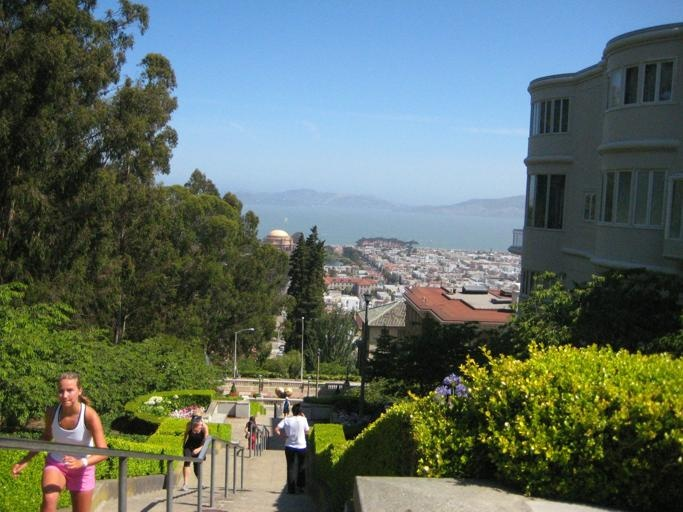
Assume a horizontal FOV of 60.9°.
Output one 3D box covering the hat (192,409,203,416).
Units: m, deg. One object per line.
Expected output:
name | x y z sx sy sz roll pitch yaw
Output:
hat | -2.869 3.123 11.647 0.213 0.107 0.234 2 -3 -3

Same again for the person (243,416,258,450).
person | -2.893 5.749 18.844 0.379 0.750 1.628 -8 -6 -11

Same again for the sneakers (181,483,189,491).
sneakers | -3.048 4.499 11.397 0.069 0.087 0.189 0 -15 2

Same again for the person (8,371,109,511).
person | -3.090 2.136 6.544 0.926 1.620 0.681 -13 -6 41
